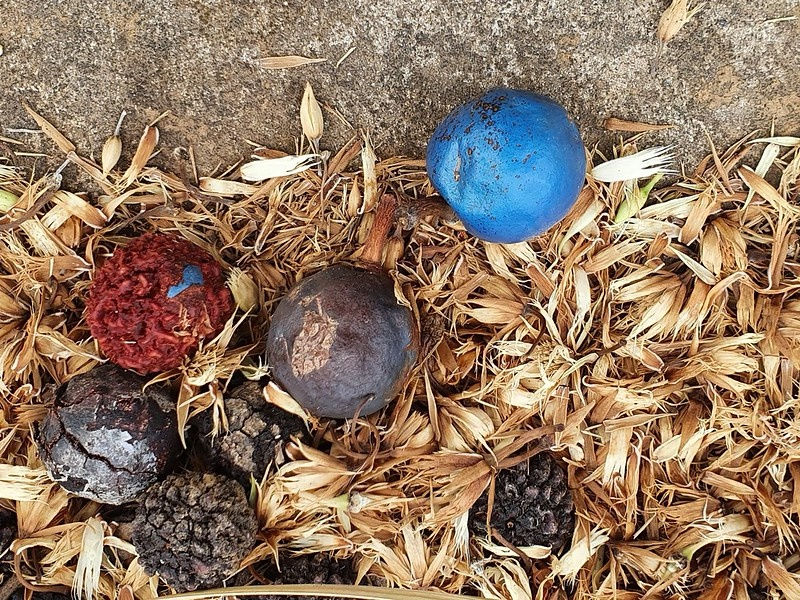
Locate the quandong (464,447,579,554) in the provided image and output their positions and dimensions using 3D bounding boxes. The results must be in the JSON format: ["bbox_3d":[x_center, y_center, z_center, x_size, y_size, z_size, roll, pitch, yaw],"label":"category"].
[{"bbox_3d":[0.291,0.501,2.022,0.242,0.118,0.210,-9,88,11],"label":"quandong"}]
